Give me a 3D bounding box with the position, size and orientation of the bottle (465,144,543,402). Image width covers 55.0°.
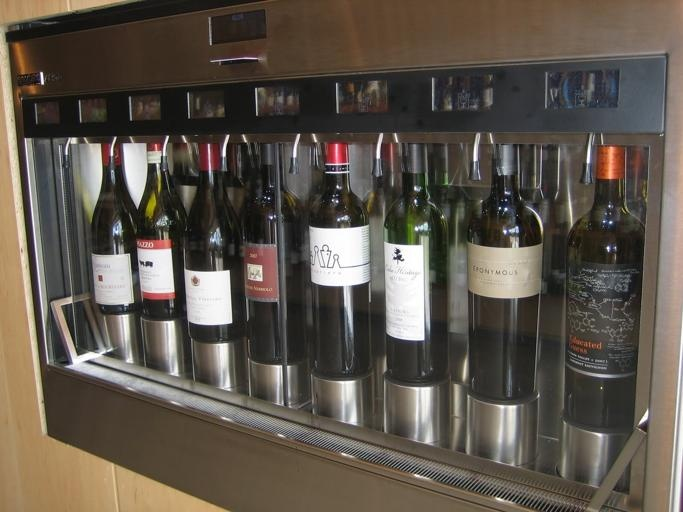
[{"bbox_3d":[0.223,0.021,0.876,0.112,0.337,0.084,-3,14,2],"label":"bottle"}]

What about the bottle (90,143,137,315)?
[{"bbox_3d":[-0.430,-0.031,1.229,0.085,0.273,0.070,-9,15,-18],"label":"bottle"}]

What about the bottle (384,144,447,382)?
[{"bbox_3d":[0.105,0.010,0.929,0.093,0.335,0.073,-2,14,9],"label":"bottle"}]

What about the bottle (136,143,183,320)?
[{"bbox_3d":[-0.332,-0.031,1.203,0.094,0.270,0.138,-8,14,-15],"label":"bottle"}]

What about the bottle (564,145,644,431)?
[{"bbox_3d":[0.326,0.060,0.817,0.086,0.307,0.079,-4,14,1],"label":"bottle"}]

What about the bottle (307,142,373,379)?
[{"bbox_3d":[-0.005,0.010,0.962,0.094,0.347,0.053,-5,14,-2],"label":"bottle"}]
